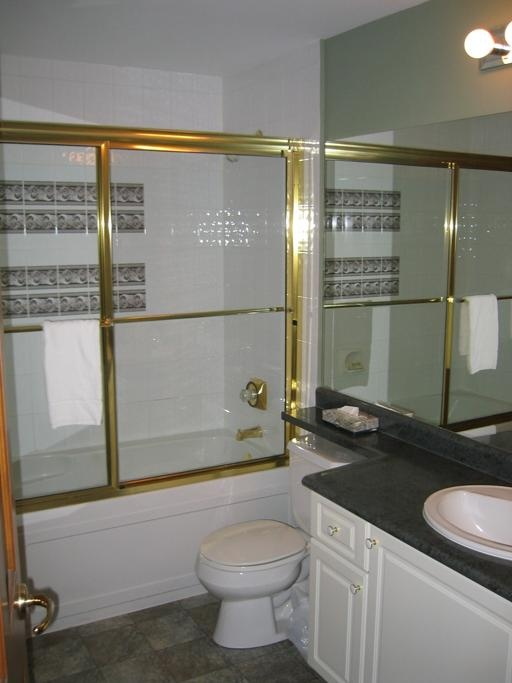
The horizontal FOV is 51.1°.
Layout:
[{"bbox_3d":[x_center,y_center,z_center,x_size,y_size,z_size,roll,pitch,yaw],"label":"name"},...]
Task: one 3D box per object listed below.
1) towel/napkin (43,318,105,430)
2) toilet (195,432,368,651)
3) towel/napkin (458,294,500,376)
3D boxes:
[{"bbox_3d":[-0.729,0.121,2.145,0.235,0.417,0.108,-2,7,-18],"label":"towel/napkin"},{"bbox_3d":[0.058,0.765,2.100,0.601,0.721,0.326,-4,13,-31],"label":"toilet"},{"bbox_3d":[0.674,-0.018,1.623,0.017,0.241,0.164,-6,5,-16],"label":"towel/napkin"}]
